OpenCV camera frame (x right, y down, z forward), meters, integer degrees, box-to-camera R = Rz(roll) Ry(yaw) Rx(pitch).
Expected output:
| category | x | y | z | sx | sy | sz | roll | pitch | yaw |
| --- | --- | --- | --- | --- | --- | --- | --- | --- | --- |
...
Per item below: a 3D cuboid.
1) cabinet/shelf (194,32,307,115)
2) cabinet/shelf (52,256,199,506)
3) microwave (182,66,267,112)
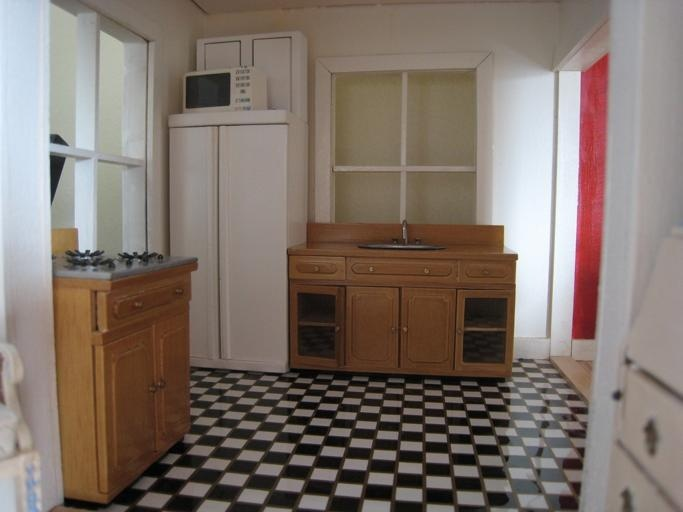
| category | x | y | z | sx | sy | sz | roll | pitch | yaw |
| --- | --- | --- | --- | --- | --- | --- | --- | --- | --- |
| cabinet/shelf | -0.680 | -1.414 | 4.224 | 0.744 | 0.627 | 0.242 | 3 | 6 | 17 |
| cabinet/shelf | -1.108 | 0.576 | 2.752 | 0.306 | 1.097 | 0.701 | 4 | 11 | 21 |
| microwave | -0.895 | -1.267 | 4.231 | 0.603 | 0.298 | 0.362 | 3 | 9 | 15 |
